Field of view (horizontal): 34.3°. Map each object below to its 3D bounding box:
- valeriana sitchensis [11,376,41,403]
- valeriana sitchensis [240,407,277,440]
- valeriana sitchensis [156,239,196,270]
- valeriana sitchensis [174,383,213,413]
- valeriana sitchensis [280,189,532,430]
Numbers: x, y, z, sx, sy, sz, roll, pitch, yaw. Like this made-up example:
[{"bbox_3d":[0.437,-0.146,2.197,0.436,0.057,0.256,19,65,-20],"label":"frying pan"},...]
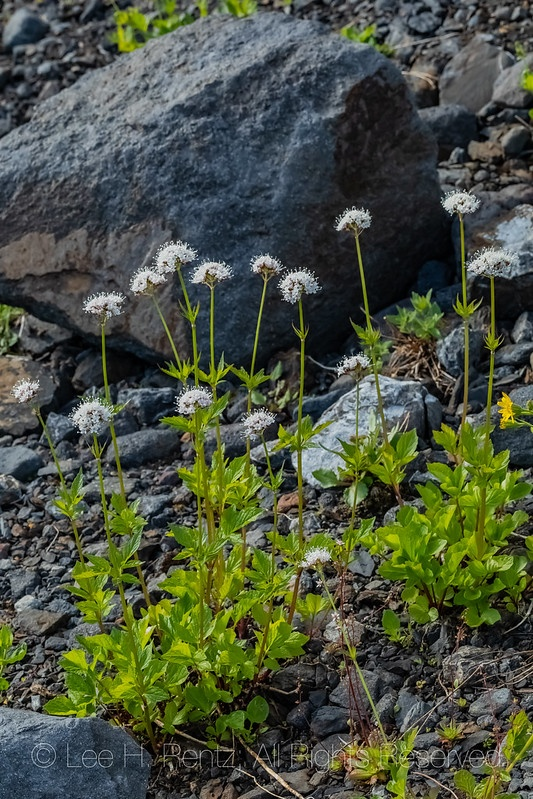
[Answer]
[{"bbox_3d":[-1.069,-0.042,3.877,0.112,0.062,0.109,-11,48,6],"label":"valeriana sitchensis"},{"bbox_3d":[-0.031,0.107,3.553,0.134,0.118,0.133,-19,6,2],"label":"valeriana sitchensis"},{"bbox_3d":[-0.297,-0.465,2.861,0.116,0.086,0.192,-9,14,12],"label":"valeriana sitchensis"},{"bbox_3d":[-0.224,0.010,2.620,0.101,0.102,0.101,-5,-6,-19],"label":"valeriana sitchensis"},{"bbox_3d":[0.696,-0.454,4.480,1.277,1.578,0.378,-2,-12,10],"label":"valeriana sitchensis"}]
